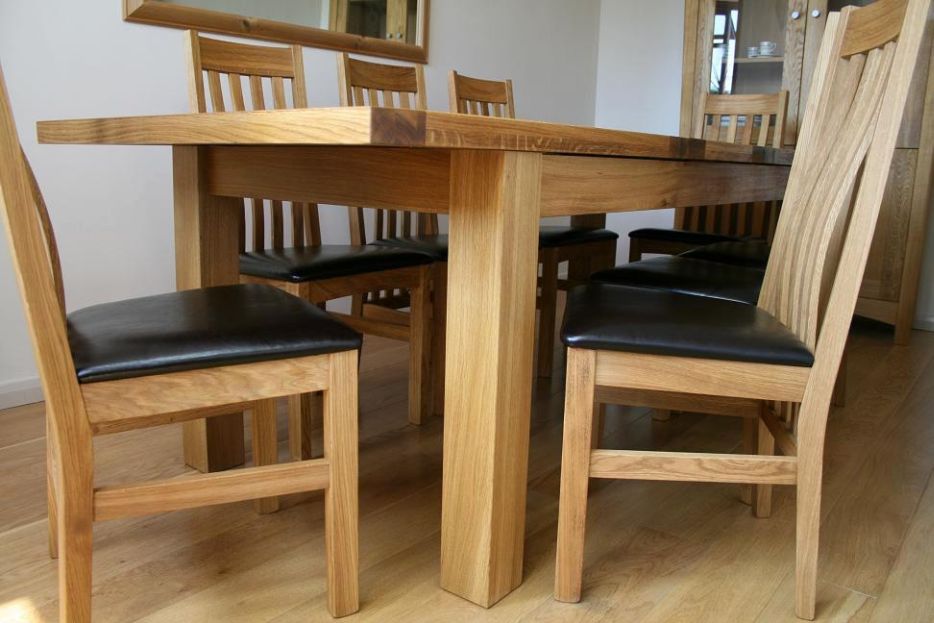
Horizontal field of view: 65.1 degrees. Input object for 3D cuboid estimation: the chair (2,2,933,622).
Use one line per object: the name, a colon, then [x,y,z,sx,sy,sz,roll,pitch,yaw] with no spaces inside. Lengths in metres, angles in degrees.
chair: [-0.138,0.051,1.806,1.364,1.065,0.803,2,20,12]

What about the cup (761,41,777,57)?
cup: [1.696,-1.473,4.121,0.098,0.059,0.095,2,8,0]

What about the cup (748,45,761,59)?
cup: [1.633,-1.474,4.164,0.080,0.053,0.066,0,15,-2]
